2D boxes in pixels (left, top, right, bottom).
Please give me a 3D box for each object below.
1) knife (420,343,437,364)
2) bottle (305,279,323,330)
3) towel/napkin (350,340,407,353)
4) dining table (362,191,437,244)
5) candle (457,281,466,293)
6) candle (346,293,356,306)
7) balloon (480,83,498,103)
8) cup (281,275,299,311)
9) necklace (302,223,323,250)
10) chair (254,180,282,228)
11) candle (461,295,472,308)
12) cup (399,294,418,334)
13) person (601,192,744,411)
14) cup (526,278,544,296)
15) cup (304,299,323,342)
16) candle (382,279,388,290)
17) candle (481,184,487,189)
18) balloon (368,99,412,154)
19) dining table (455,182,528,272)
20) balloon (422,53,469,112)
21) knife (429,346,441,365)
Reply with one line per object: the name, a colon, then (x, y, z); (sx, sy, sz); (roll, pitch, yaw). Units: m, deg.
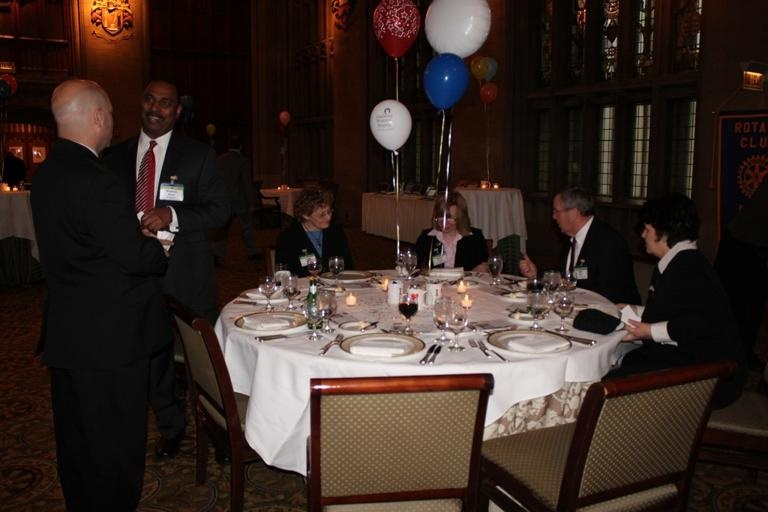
knife: (0.219, 0.467, 2.897); (0.032, 0.011, 0.246); (4, 13, 14)
bottle: (-0.366, 0.240, 3.124); (0.090, 0.296, 0.093); (-1, 25, 1)
towel/napkin: (-0.031, 0.448, 2.931); (0.269, 0.031, 0.140); (0, 13, 4)
dining table: (0.343, -0.746, 10.748); (1.499, 0.797, 0.548); (10, 29, 29)
candle: (0.496, 0.198, 3.741); (0.064, 0.078, 0.067); (0, -1, 1)
candle: (-0.201, 0.261, 3.579); (0.062, 0.076, 0.065); (-2, 17, -6)
balloon: (1.655, -2.545, 9.275); (0.291, 0.390, 0.320); (2, 11, 11)
cup: (-0.548, 0.213, 3.445); (0.093, 0.218, 0.088); (2, 18, -1)
necklace: (-0.558, -0.122, 4.593); (0.114, 0.132, 0.156); (-5, 10, -28)
chair: (-2.353, -1.036, 12.194); (0.607, 0.930, 0.648); (1, 7, 20)
candle: (0.502, 0.265, 3.499); (0.072, 0.078, 0.075); (-1, 2, -6)
cup: (0.129, 0.304, 3.121); (0.090, 0.221, 0.104); (0, 9, 4)
person: (1.665, 0.458, 3.574); (0.829, 1.596, 0.709); (4, 8, 27)
cup: (0.881, 0.176, 3.429); (0.096, 0.100, 0.101); (0, 7, 0)
cup: (-0.370, 0.332, 3.131); (0.101, 0.230, 0.102); (0, 8, 0)
candle: (0.020, 0.191, 3.904); (0.050, 0.060, 0.051); (-1, 3, -30)
candle: (1.544, -1.069, 9.047); (0.087, 0.093, 0.091); (-1, 14, 7)
balloon: (0.051, -0.968, 4.425); (0.281, 0.380, 0.279); (-1, 12, -1)
dining table: (1.593, -0.450, 8.713); (0.934, 0.968, 0.986); (8, 22, 26)
balloon: (0.456, -1.287, 4.578); (0.357, 0.476, 0.380); (10, 8, -1)
knife: (0.253, 0.482, 2.885); (0.024, 0.008, 0.174); (10, 18, 13)
